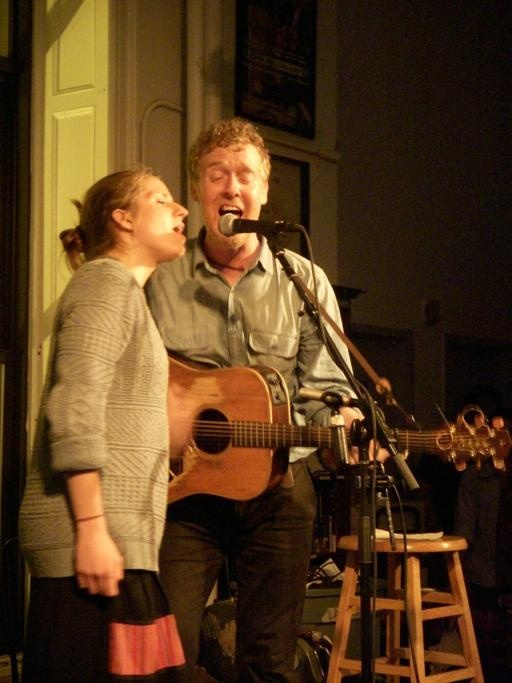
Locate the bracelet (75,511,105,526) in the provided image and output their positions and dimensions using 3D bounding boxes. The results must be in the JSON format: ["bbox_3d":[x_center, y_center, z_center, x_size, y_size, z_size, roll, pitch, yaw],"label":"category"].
[{"bbox_3d":[-0.338,0.364,1.810,0.055,0.021,0.014,1,2,-10],"label":"bracelet"}]

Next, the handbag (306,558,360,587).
[{"bbox_3d":[0.324,1.088,4.106,0.119,0.036,0.115,-27,39,-16],"label":"handbag"}]

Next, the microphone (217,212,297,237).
[{"bbox_3d":[0.010,-0.339,2.442,0.258,0.074,0.071,0,-9,30],"label":"microphone"}]
